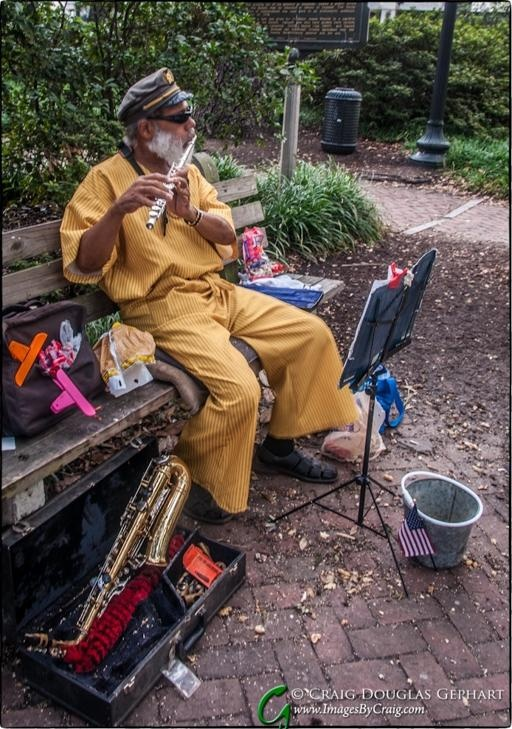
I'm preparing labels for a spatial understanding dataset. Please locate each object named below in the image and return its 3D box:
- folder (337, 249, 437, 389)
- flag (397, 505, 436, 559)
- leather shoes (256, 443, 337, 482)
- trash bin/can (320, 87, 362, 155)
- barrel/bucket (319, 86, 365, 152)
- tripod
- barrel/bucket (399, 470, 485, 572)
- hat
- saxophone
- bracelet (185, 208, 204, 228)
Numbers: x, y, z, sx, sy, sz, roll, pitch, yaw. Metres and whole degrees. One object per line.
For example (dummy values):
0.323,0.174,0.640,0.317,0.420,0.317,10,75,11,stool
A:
0.512,-0.171,2.135,0.188,0.531,0.690,13,20,22,folder
0.645,0.658,2.223,0.145,0.211,0.071,14,21,23,flag
0.199,0.514,2.941,0.502,0.209,0.162,11,27,0,leather shoes
1.848,-5.208,12.029,0.755,1.478,0.731,3,22,8,trash bin/can
1.802,-5.177,12.057,0.791,1.403,0.763,0,21,0,barrel/bucket
0.465,0.468,2.472,0.550,0.815,0.642,10,21,7,tripod
0.775,0.674,2.341,0.306,0.310,0.389,4,17,-1,barrel/bucket
-0.423,-1.098,2.297,0.292,0.227,0.125,2,19,-10,hat
-0.451,0.618,1.883,0.226,0.437,0.673,15,21,26,saxophone
-0.280,-0.644,2.488,0.069,0.032,0.080,-27,28,28,bracelet
